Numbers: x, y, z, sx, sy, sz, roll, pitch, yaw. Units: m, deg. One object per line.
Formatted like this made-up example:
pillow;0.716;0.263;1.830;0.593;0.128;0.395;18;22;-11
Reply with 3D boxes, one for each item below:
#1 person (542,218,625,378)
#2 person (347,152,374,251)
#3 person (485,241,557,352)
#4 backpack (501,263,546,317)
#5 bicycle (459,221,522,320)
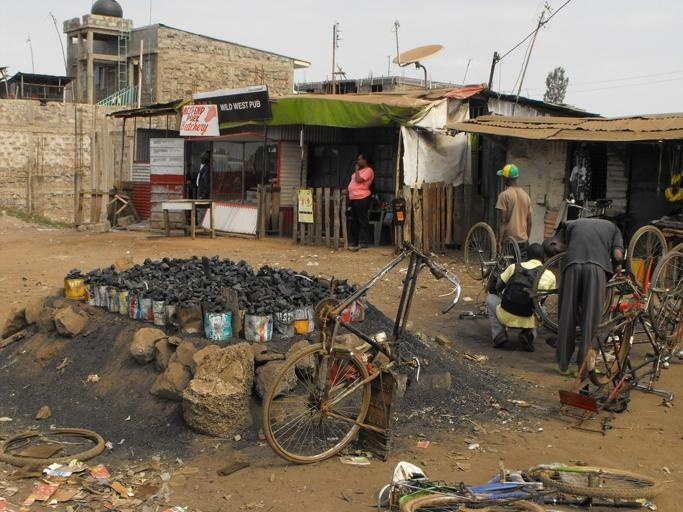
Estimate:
person;2.922;0.535;8.859;0.657;1.900;0.584;3;13;18
person;0.442;-1.182;16.523;0.537;2.089;0.809;-1;12;1
person;2.464;0.577;10.289;0.938;1.439;0.930;14;0;-26
backpack;2.418;0.465;9.865;0.472;0.754;0.407;17;3;29
bicycle;2.693;0.083;12.867;0.880;1.224;1.910;1;1;3
